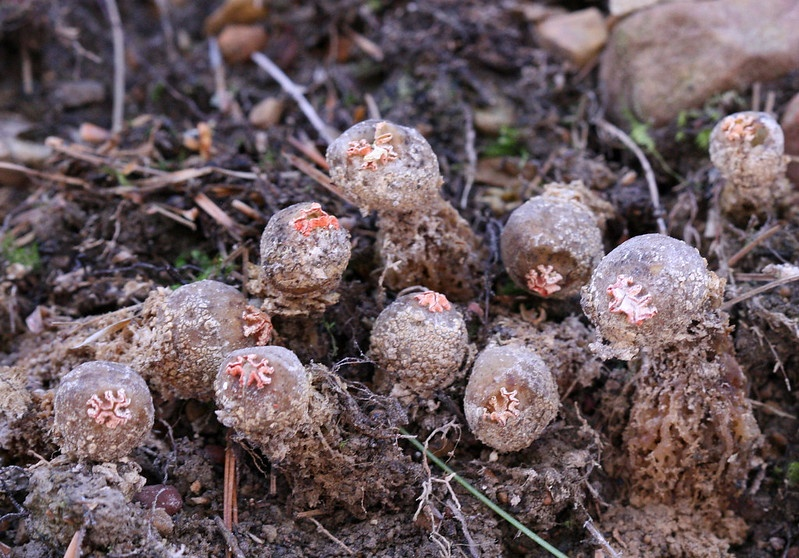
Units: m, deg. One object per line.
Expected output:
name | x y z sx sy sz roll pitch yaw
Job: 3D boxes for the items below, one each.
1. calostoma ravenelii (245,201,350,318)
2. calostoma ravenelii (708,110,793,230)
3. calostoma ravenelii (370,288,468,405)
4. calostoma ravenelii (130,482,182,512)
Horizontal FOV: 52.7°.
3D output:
calostoma ravenelii | -0.403 -0.040 3.398 0.449 0.478 0.436 -1 39 -7
calostoma ravenelii | 1.652 -0.486 3.755 0.333 0.561 0.356 -18 65 11
calostoma ravenelii | 0.050 0.290 3.566 0.408 0.435 0.437 3 62 -7
calostoma ravenelii | -1.005 0.907 3.338 0.134 0.075 0.106 7 61 -13
